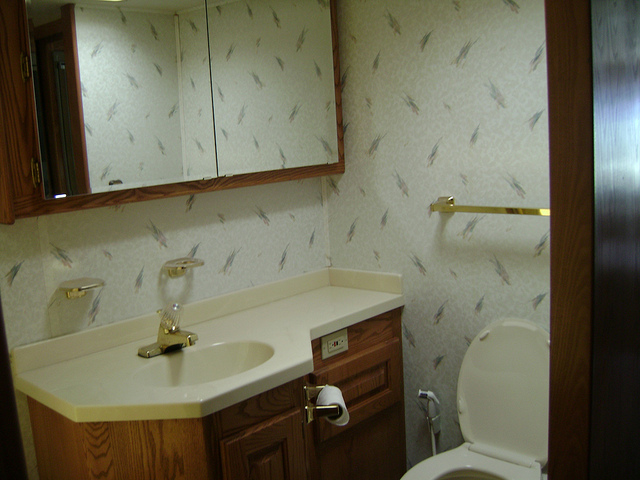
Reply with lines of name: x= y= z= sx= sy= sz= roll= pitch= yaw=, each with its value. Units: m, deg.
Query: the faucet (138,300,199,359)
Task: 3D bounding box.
faucet: x=-0.489 y=0.279 z=1.728 sx=0.198 sy=0.186 sz=0.144 roll=2 pitch=9 yaw=30

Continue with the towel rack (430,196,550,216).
towel rack: x=0.601 y=-0.121 z=1.842 sx=0.344 sy=0.042 sz=0.194 roll=11 pitch=17 yaw=43

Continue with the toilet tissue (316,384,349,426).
toilet tissue: x=0.032 y=0.500 z=1.602 sx=0.090 sy=0.099 sz=0.106 roll=-2 pitch=12 yaw=-3
